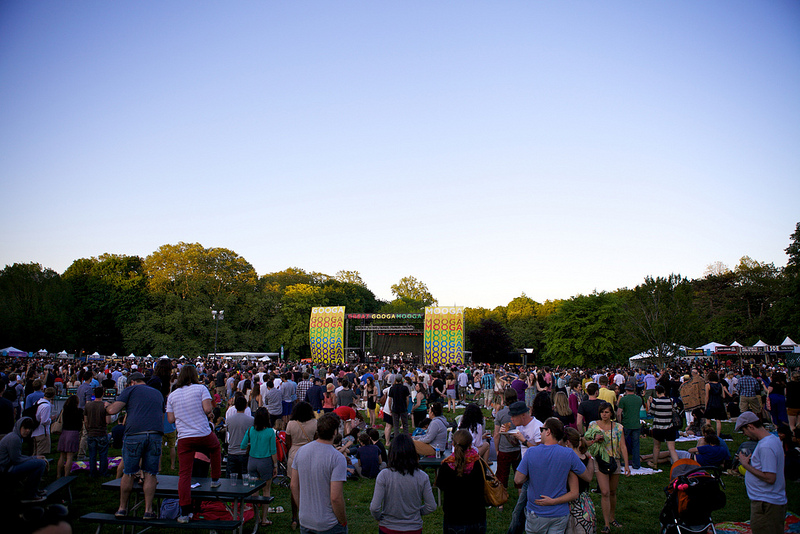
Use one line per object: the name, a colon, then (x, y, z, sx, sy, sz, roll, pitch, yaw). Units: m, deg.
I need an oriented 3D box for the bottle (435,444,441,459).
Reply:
bottle: (0.915, 4.347, 14.499, 0.180, 0.261, 0.245, -6, 6, 8)

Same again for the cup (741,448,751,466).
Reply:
cup: (6.430, 3.550, 11.440, 0.151, 0.253, 0.291, -7, -12, 32)

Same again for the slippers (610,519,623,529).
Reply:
slippers: (4.673, 5.505, 13.197, 0.102, 0.131, 0.307, -2, -5, 43)

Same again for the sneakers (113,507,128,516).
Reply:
sneakers: (-5.284, 4.602, 11.628, 0.218, 0.176, 0.350, 4, -11, -24)

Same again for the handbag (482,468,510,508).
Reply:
handbag: (1.632, 3.747, 10.505, 0.343, 0.614, 0.615, -2, -10, 10)

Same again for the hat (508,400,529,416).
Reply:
hat: (2.447, 2.832, 12.448, 0.259, 0.134, 0.360, -2, 6, 38)

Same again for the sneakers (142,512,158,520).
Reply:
sneakers: (-4.675, 4.615, 11.472, 0.218, 0.121, 0.128, 4, -11, -22)

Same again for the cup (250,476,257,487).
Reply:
cup: (-2.910, 4.249, 12.207, 0.141, 0.165, 0.163, 0, 2, 6)

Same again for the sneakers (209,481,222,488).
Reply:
sneakers: (-3.631, 4.239, 12.075, 0.182, 0.098, 0.337, 3, -10, -19)

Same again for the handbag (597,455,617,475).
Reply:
handbag: (4.334, 4.131, 12.927, 0.440, 0.434, 0.330, 3, -7, 5)

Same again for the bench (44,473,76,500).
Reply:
bench: (-7.575, 4.895, 13.688, 0.834, 0.191, 0.575, -19, -1, -12)

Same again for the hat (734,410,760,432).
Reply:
hat: (6.379, 2.879, 11.448, 0.349, 0.277, 0.490, -14, -7, -27)

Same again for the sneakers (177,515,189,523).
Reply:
sneakers: (-4.074, 4.704, 11.515, 0.239, 0.106, 0.136, 0, -10, -1)
